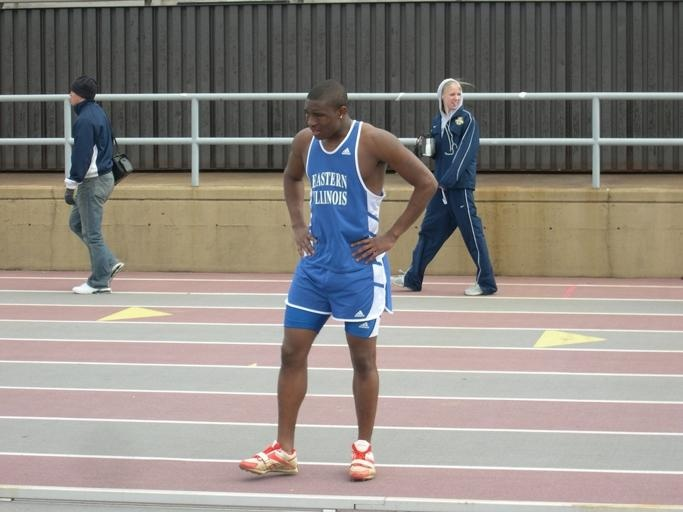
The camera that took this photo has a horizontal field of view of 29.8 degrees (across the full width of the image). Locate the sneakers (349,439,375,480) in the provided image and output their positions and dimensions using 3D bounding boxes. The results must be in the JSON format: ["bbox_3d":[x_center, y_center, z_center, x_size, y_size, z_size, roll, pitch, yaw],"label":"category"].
[{"bbox_3d":[0.170,1.707,10.898,0.218,0.289,0.214,1,15,5],"label":"sneakers"}]

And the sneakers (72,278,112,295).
[{"bbox_3d":[-3.281,0.386,16.751,0.504,0.234,0.191,3,0,-5],"label":"sneakers"}]

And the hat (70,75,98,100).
[{"bbox_3d":[-3.310,-2.124,16.341,0.300,0.325,0.479,-3,16,-13],"label":"hat"}]

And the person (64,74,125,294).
[{"bbox_3d":[-3.233,-0.883,16.479,0.692,2.788,0.536,-6,15,-22],"label":"person"}]

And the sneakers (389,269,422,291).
[{"bbox_3d":[0.820,0.320,16.888,0.475,0.213,0.178,26,1,9],"label":"sneakers"}]

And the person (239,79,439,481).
[{"bbox_3d":[0.007,0.171,10.942,1.343,3.203,1.087,1,14,3],"label":"person"}]

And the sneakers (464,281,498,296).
[{"bbox_3d":[1.774,0.418,16.493,0.297,0.133,0.187,5,1,4],"label":"sneakers"}]
